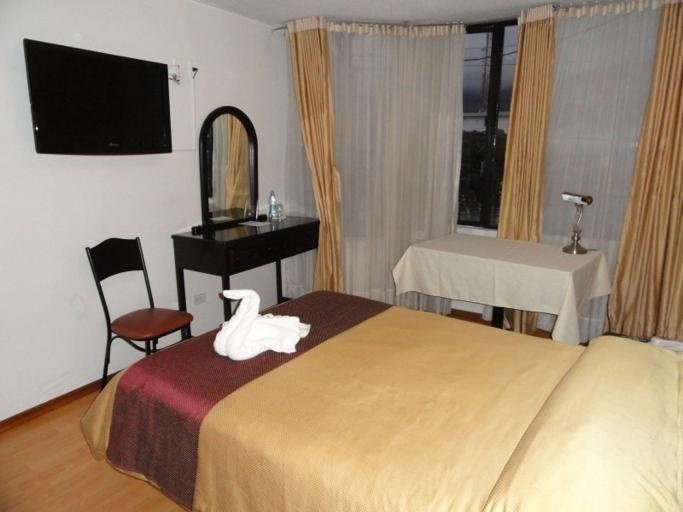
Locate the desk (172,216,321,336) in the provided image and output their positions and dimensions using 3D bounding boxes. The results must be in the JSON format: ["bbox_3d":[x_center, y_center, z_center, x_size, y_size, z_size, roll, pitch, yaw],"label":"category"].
[{"bbox_3d":[-0.762,0.246,4.402,0.497,1.021,1.297,9,14,27],"label":"desk"}]

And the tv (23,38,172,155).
[{"bbox_3d":[-1.618,-1.030,3.214,0.082,0.544,0.822,10,14,33],"label":"tv"}]

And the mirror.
[{"bbox_3d":[-0.968,-0.763,4.268,0.137,0.996,0.708,5,17,25],"label":"mirror"}]

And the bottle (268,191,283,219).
[{"bbox_3d":[-0.626,-0.480,4.658,0.140,0.263,0.124,-3,15,-2],"label":"bottle"}]

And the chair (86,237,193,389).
[{"bbox_3d":[-1.380,0.448,3.419,0.619,1.056,0.499,11,17,21],"label":"chair"}]
